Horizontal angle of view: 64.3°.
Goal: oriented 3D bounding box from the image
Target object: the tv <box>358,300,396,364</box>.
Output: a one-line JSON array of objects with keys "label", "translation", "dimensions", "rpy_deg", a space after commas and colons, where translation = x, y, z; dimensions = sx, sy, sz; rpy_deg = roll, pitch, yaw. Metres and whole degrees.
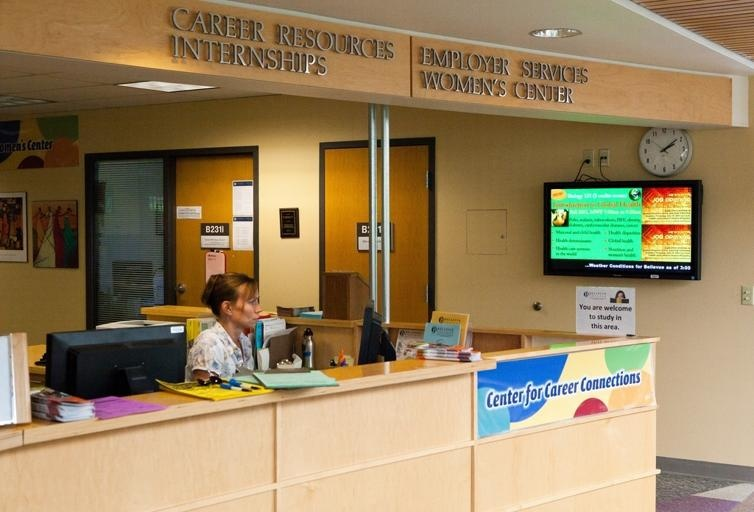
[{"label": "tv", "translation": [0.005, 0.497, 3.649], "dimensions": [0.221, 0.388, 0.418], "rpy_deg": [3, 3, 1]}]

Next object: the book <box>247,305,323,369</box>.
[{"label": "book", "translation": [-0.741, 0.636, 4.723], "dimensions": [0.366, 0.556, 0.515], "rpy_deg": [5, 3, 31]}]

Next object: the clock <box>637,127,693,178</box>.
[{"label": "clock", "translation": [2.626, -0.930, 5.428], "dimensions": [0.500, 0.513, 0.109], "rpy_deg": [-1, -6, 22]}]

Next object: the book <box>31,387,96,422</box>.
[{"label": "book", "translation": [-1.231, 0.565, 2.322], "dimensions": [0.127, 0.051, 0.161], "rpy_deg": [1, 0, -41]}]

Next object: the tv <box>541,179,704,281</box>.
[{"label": "tv", "translation": [2.294, -0.240, 5.456], "dimensions": [1.031, 0.589, 0.135], "rpy_deg": [0, 0, 25]}]

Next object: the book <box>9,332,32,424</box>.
[{"label": "book", "translation": [-1.327, 0.453, 2.243], "dimensions": [0.073, 0.350, 0.173], "rpy_deg": [1, 3, -29]}]
